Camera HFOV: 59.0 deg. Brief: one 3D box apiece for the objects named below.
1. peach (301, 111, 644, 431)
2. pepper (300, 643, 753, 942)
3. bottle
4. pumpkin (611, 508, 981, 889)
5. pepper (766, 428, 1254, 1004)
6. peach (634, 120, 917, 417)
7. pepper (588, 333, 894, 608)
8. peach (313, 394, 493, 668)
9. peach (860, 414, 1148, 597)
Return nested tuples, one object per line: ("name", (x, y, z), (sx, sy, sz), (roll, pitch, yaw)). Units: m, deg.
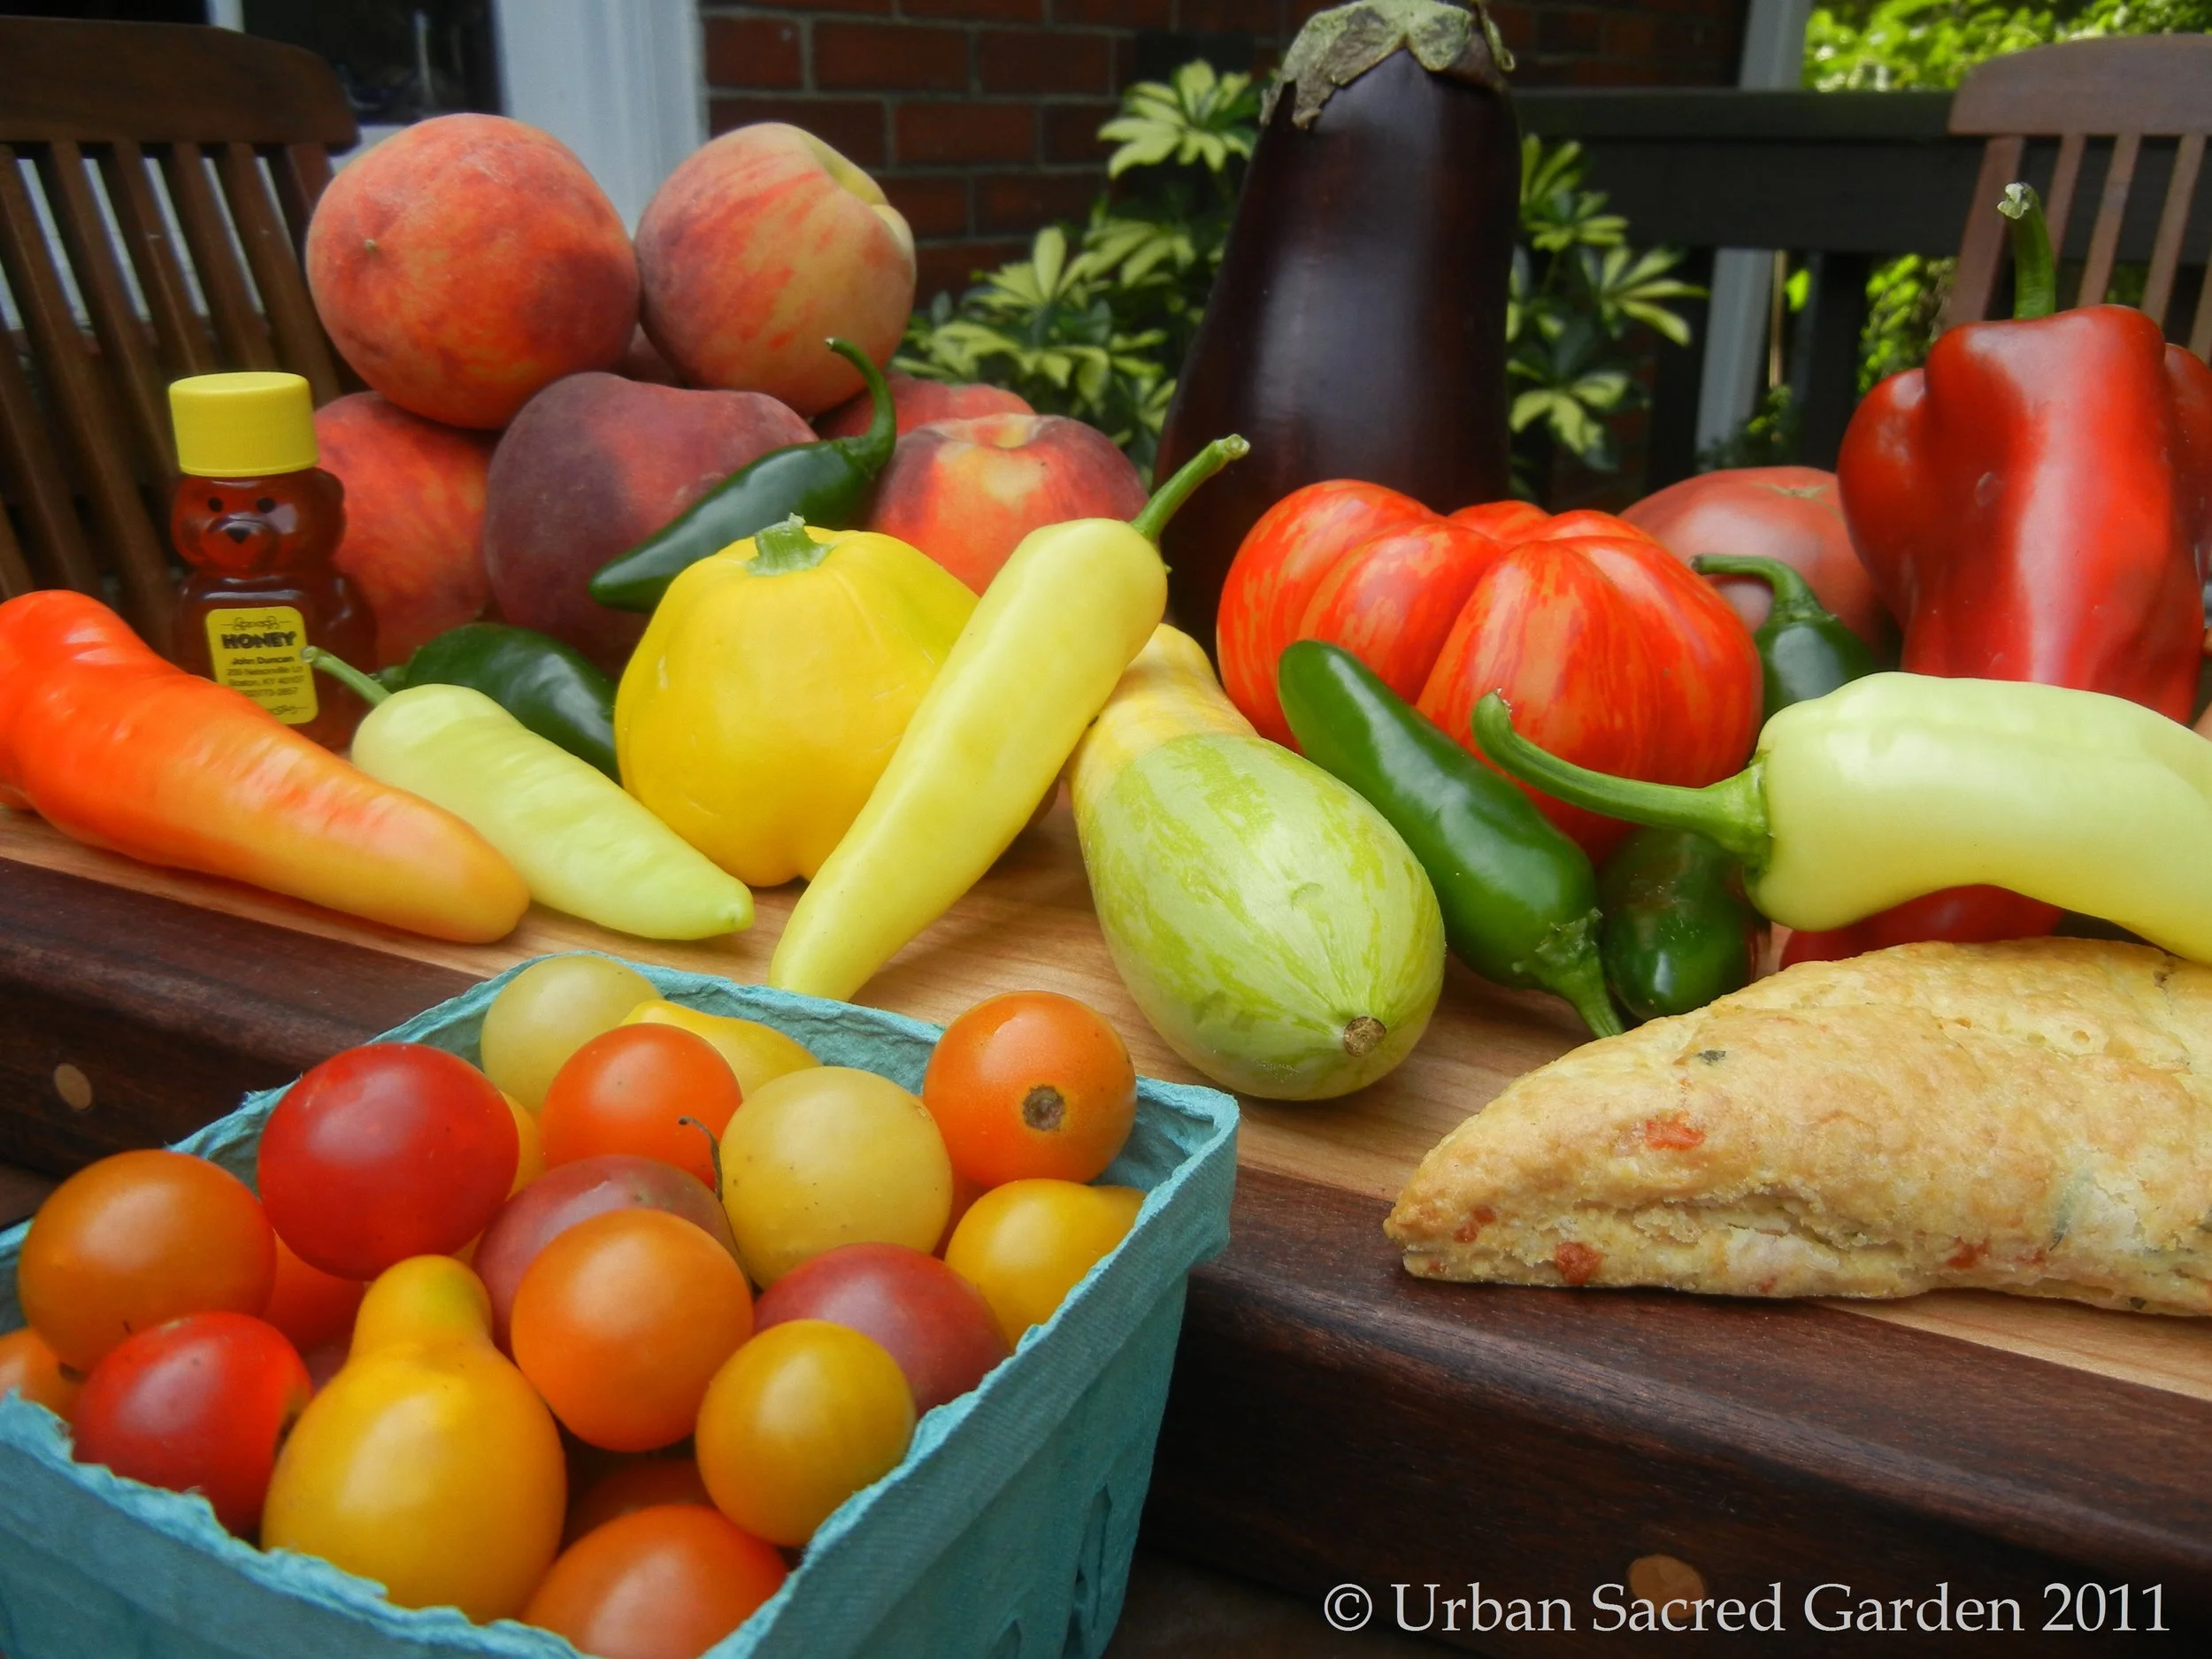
("peach", (-0.378, -0.327, 1.173), (0.173, 0.204, 0.202), (-9, -3, 7))
("pepper", (-0.285, -0.010, 0.976), (0.304, 0.080, 0.087), (31, 46, 29))
("bottle", (-0.439, -0.146, 1.000), (0.099, 0.205, 0.123), (-6, 22, -27))
("pumpkin", (-0.161, -0.064, 0.962), (0.173, 0.172, 0.167), (-14, 32, -35))
("pepper", (-0.070, -0.069, 0.863), (0.210, 0.209, 0.161), (-12, 24, -38))
("peach", (-0.218, -0.325, 1.237), (0.166, 0.161, 0.158), (17, 29, -47))
("pepper", (-0.178, -0.210, 1.065), (0.074, 0.113, 0.238), (28, 44, 35))
("peach", (-0.419, -0.172, 1.226), (0.140, 0.145, 0.159), (-5, -4, -39))
("peach", (-0.089, -0.182, 1.085), (0.101, 0.096, 0.109), (-25, 14, -25))
